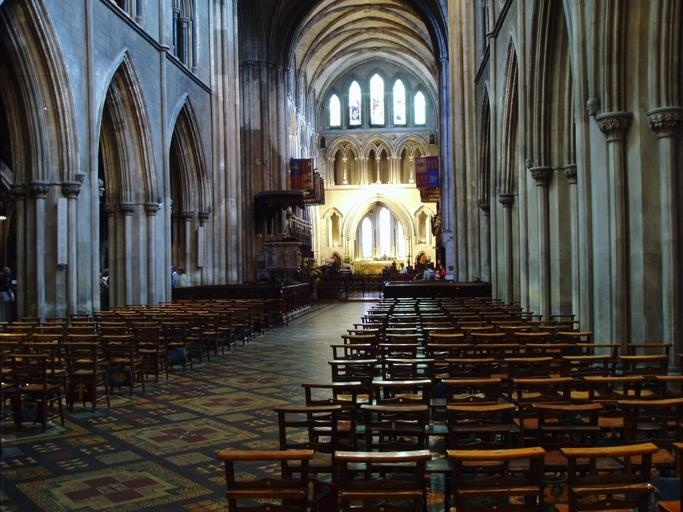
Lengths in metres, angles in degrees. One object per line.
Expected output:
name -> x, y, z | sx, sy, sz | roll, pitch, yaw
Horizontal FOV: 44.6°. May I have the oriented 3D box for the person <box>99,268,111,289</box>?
person -> -7.422, 0.672, 25.845 | 0.247, 0.434, 1.051 | -2, -1, -18
